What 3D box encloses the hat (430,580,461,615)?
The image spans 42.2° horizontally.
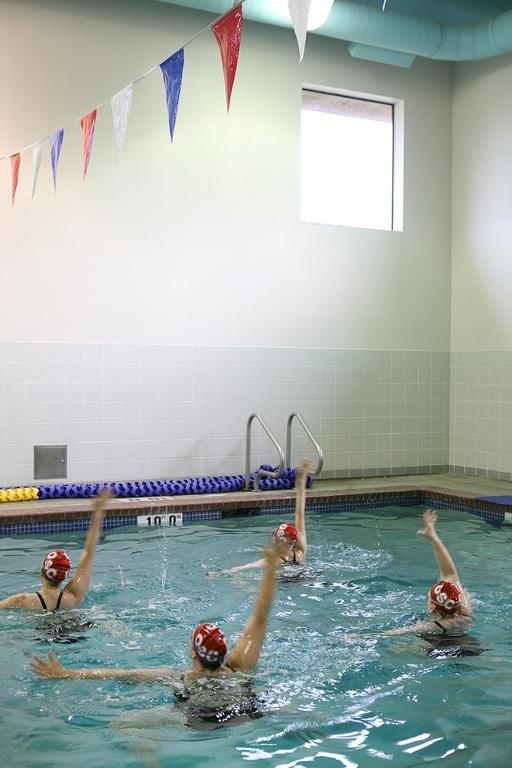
[{"bbox_3d":[0.807,0.914,2.837,0.135,0.128,0.133,2,-2,15],"label":"hat"}]

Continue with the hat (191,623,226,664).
[{"bbox_3d":[-0.146,0.810,2.110,0.095,0.119,0.128,1,25,-13],"label":"hat"}]

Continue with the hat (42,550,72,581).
[{"bbox_3d":[-0.874,0.804,2.881,0.130,0.176,0.158,7,-28,-22],"label":"hat"}]
